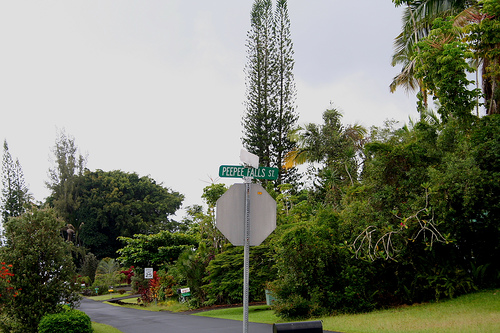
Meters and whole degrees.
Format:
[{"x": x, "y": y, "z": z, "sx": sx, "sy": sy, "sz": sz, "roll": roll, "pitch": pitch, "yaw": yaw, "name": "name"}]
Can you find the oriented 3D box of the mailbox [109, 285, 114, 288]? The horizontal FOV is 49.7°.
[{"x": -13.520, "y": 11.709, "z": 52.546, "sx": 0.136, "sy": 0.113, "sz": 0.570, "roll": 6, "pitch": 5, "yaw": 23, "name": "mailbox"}]
